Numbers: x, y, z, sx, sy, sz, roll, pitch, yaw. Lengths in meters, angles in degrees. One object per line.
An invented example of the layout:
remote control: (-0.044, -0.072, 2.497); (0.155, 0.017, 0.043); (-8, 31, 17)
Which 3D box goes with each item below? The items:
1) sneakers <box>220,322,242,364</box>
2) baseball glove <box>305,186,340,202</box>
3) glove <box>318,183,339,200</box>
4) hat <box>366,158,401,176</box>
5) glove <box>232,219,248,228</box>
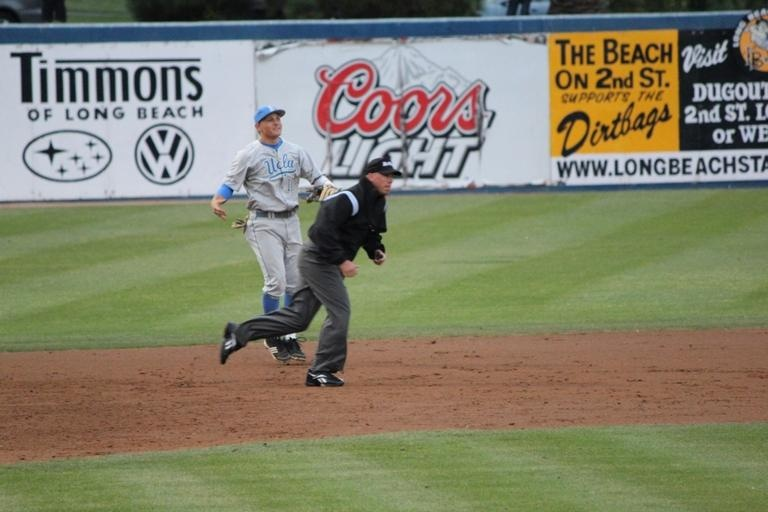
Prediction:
sneakers: (-2.205, 1.218, 26.397); (0.279, 0.601, 0.221); (10, 0, 0)
baseball glove: (-0.893, -0.929, 26.836); (0.391, 0.137, 0.266); (-17, 10, -11)
glove: (-0.840, -0.956, 26.709); (0.278, 0.248, 0.110); (24, 8, -1)
hat: (-0.017, -1.289, 25.849); (0.416, 0.187, 0.280); (0, 0, 24)
glove: (-2.149, -0.515, 27.236); (0.228, 0.072, 0.153); (-5, 8, -17)
